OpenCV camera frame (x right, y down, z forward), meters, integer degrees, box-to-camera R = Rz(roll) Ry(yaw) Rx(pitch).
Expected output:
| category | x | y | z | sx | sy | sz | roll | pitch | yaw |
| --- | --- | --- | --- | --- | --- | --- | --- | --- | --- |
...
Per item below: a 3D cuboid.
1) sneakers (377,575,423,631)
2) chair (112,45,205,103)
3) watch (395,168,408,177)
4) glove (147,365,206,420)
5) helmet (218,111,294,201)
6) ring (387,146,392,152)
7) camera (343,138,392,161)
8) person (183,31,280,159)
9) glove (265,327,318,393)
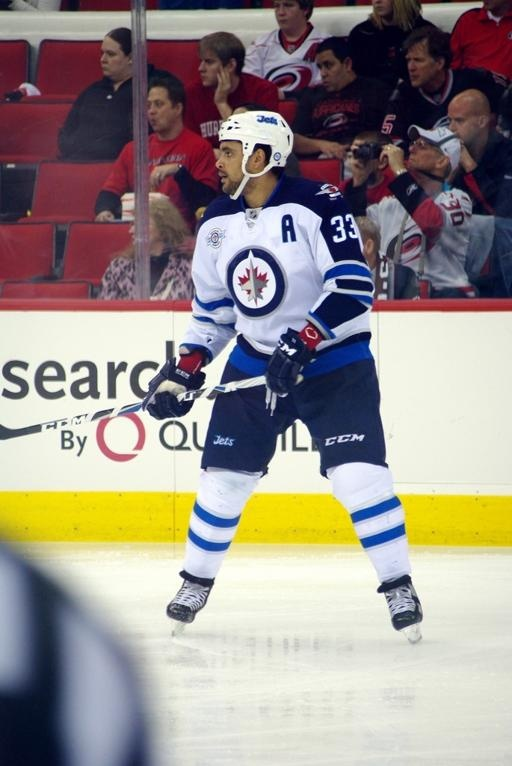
| category | x | y | z | sx | sy | sz | roll | pitch | yaw |
| --- | --- | --- | --- | --- | --- | --- | --- | --- | --- |
| sneakers | 0.356 | 0.530 | 2.447 | 0.079 | 0.063 | 0.187 | 44 | 10 | -3 |
| chair | -0.474 | -1.717 | 5.173 | 0.456 | 0.240 | 0.279 | 4 | 68 | -25 |
| watch | 0.703 | -1.047 | 4.794 | 0.014 | 0.045 | 0.049 | 46 | 16 | -22 |
| glove | -0.222 | 0.030 | 2.744 | 0.074 | 0.175 | 0.106 | 36 | -15 | 26 |
| helmet | 0.009 | -0.637 | 2.745 | 0.261 | 0.270 | 0.202 | 0 | 2 | 1 |
| ring | 0.657 | -1.177 | 4.874 | 0.023 | 0.019 | 0.028 | 6 | 33 | 7 |
| camera | 0.546 | -1.179 | 4.913 | 0.106 | 0.118 | 0.168 | 5 | 0 | -40 |
| person | -0.153 | -1.542 | 5.340 | 0.620 | 0.684 | 0.460 | 0 | 4 | 27 |
| glove | 0.096 | -0.055 | 2.466 | 0.105 | 0.169 | 0.070 | 39 | 12 | 38 |
